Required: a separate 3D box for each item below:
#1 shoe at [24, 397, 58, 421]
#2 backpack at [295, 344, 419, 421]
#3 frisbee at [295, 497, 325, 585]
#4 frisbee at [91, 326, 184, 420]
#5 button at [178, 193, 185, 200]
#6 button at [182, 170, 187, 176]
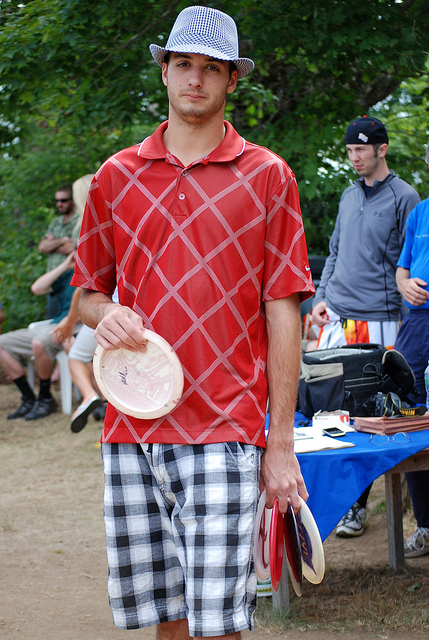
[{"bbox_3d":[-1.785,0.915,7.543,0.133,0.182,0.409,-1,6,34],"label":"shoe"},{"bbox_3d":[0.627,0.281,3.232,0.506,0.214,0.374,-2,4,-14],"label":"backpack"},{"bbox_3d":[0.240,0.569,1.806,0.034,0.153,0.173,-19,-36,34],"label":"frisbee"},{"bbox_3d":[-0.165,0.116,1.656,0.221,0.210,0.036,2,15,34],"label":"frisbee"},{"bbox_3d":[-0.075,-0.283,1.673,0.016,0.015,0.006,1,1,0],"label":"button"},{"bbox_3d":[-0.069,-0.340,1.691,0.014,0.013,0.004,5,1,3],"label":"button"}]
